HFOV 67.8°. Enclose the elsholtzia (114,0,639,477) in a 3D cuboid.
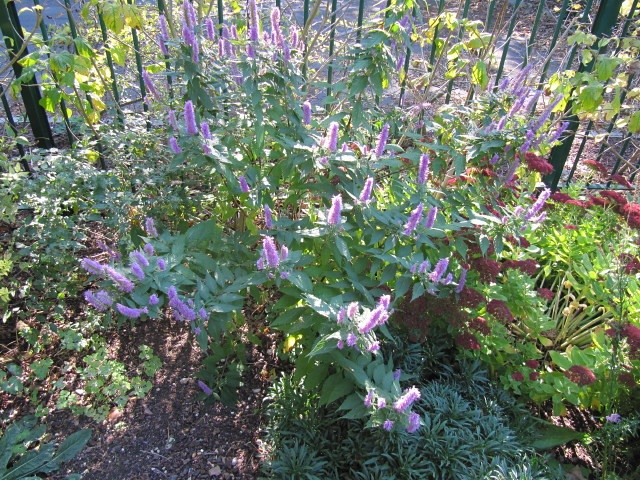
[{"bbox_3d":[0.281,-0.017,4.505,4.128,3.258,2.623,2,1,-3],"label":"elsholtzia"}]
